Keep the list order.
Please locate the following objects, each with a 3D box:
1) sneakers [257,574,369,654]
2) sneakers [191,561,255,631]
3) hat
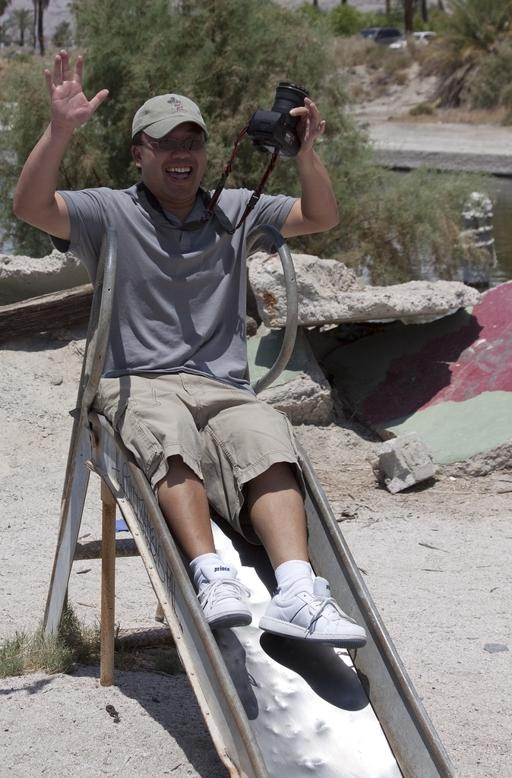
[{"bbox_3d":[0.127,0.538,1.882,0.307,0.163,0.118,12,-14,29],"label":"sneakers"},{"bbox_3d":[-0.083,0.484,1.882,0.103,0.078,0.202,-8,19,-15],"label":"sneakers"},{"bbox_3d":[-0.300,-0.879,2.549,0.165,0.106,0.221,-2,-6,-15],"label":"hat"}]
